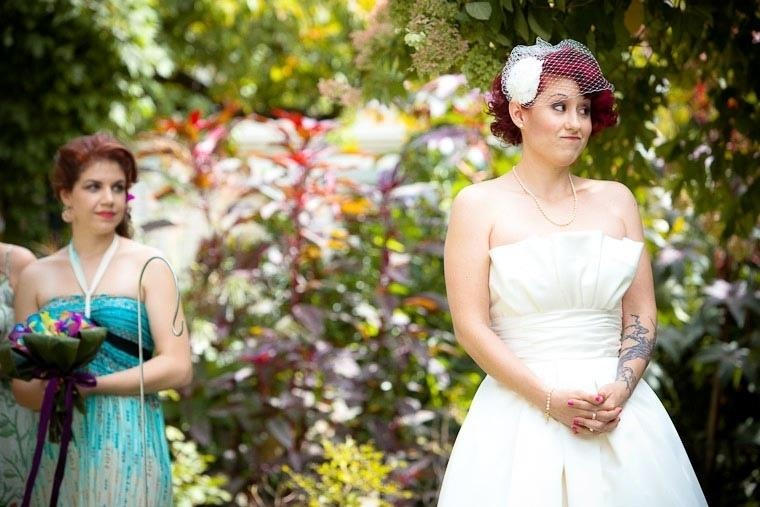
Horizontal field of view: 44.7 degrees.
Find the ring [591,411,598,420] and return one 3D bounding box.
[{"bbox_3d":[0.998,0.762,4.326,0.031,0.042,0.012,3,2,20],"label":"ring"}]

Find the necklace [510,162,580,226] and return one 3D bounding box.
[{"bbox_3d":[0.821,-0.290,4.537,0.225,0.329,0.029,-16,-13,-36],"label":"necklace"}]

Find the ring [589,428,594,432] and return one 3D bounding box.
[{"bbox_3d":[0.988,0.838,4.349,0.022,0.020,0.005,16,30,34],"label":"ring"}]
